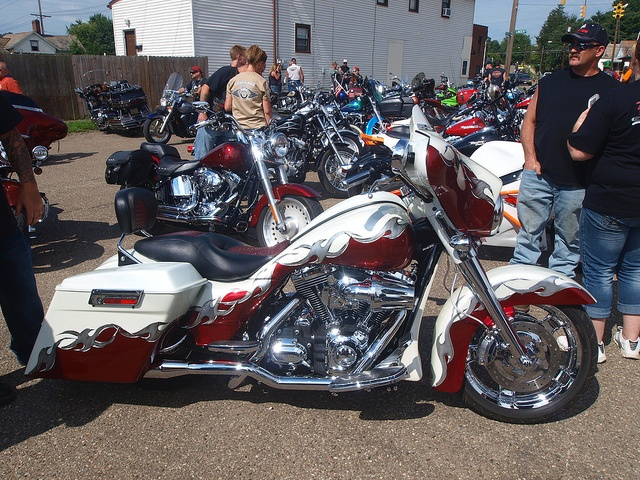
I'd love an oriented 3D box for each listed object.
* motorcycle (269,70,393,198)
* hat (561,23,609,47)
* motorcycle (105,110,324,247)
[{"bbox_3d":[0.637,-1.618,7.846,2.346,1.588,1.325,10,17,19],"label":"motorcycle"},{"bbox_3d":[2.297,-1.766,4.081,0.338,0.171,0.217,7,37,8],"label":"hat"},{"bbox_3d":[-1.170,-1.001,6.163,2.743,1.550,1.449,9,16,17],"label":"motorcycle"}]
